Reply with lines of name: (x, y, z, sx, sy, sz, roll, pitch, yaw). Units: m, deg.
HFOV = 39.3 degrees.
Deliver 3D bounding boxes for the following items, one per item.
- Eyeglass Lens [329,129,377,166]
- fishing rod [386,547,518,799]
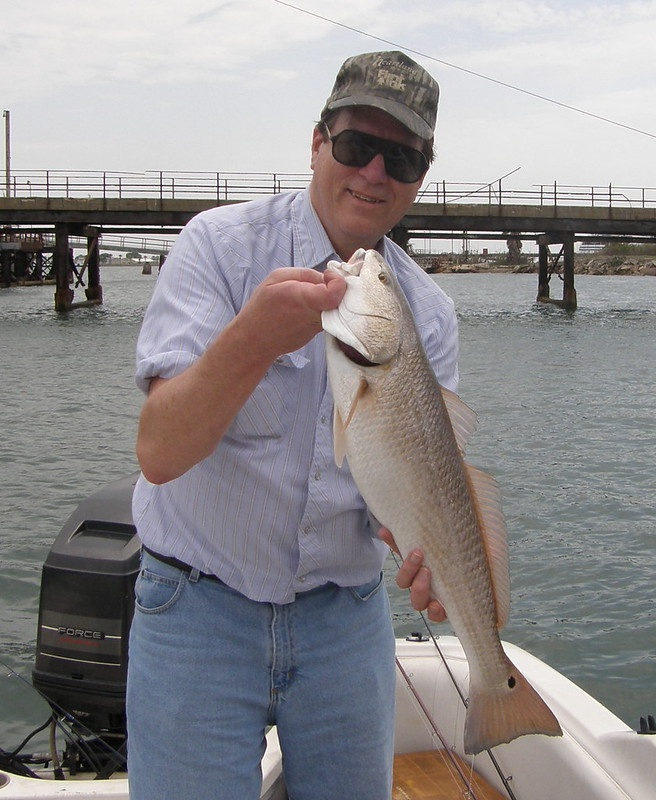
Eyeglass Lens: (0.071, -0.686, 2.525, 0.141, 0.048, 0.128, 10, -4, -19)
fishing rod: (0.533, 1.102, 4.143, 0.059, 0.366, 1.439, -26, 48, -16)
